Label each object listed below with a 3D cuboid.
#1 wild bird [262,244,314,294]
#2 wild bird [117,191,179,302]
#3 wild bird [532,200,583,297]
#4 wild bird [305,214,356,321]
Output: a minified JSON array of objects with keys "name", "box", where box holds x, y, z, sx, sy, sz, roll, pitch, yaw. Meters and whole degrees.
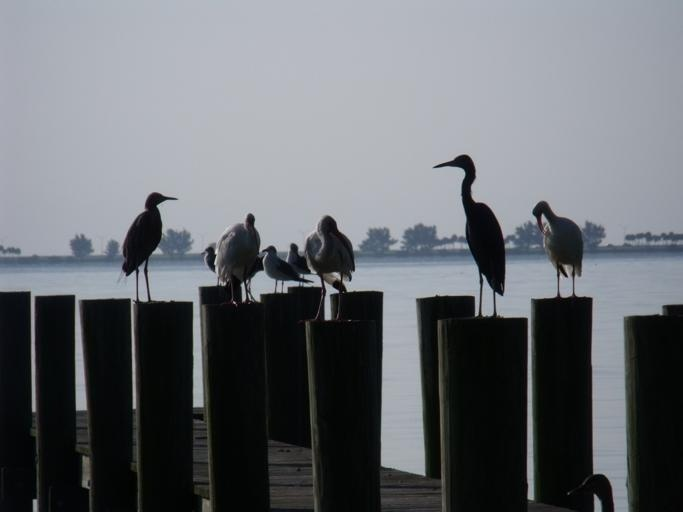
[{"name":"wild bird","box":[-0.946,0.210,25.884,1.053,0.794,0.383,4,-6,-39]},{"name":"wild bird","box":[-2.482,-0.160,19.897,0.625,1.360,1.151,-1,-1,-8]},{"name":"wild bird","box":[2.839,-0.157,20.588,0.631,1.168,0.706,-1,-1,7]},{"name":"wild bird","box":[-0.137,0.062,19.559,0.599,1.525,1.361,1,10,2]}]
